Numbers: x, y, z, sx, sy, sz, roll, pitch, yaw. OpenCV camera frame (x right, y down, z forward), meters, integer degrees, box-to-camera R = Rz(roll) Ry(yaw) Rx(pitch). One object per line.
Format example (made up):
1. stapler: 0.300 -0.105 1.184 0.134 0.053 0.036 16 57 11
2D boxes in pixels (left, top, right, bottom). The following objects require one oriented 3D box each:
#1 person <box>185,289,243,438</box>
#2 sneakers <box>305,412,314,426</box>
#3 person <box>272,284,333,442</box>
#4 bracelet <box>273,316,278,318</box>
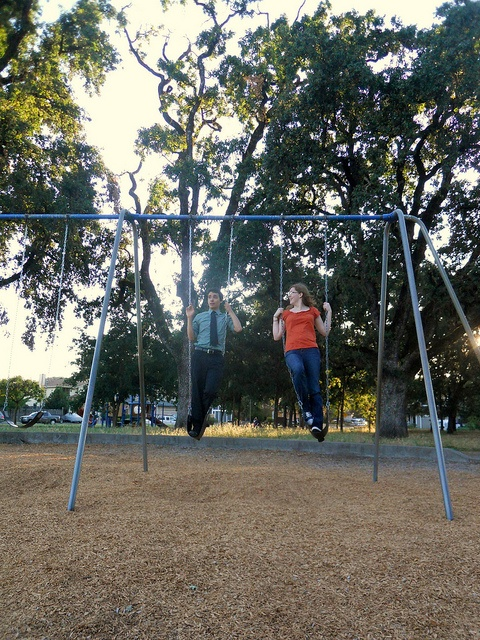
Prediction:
1. person: -0.328 0.465 6.425 0.599 1.894 1.029 1 -8 -3
2. sneakers: 0.762 1.071 5.824 0.101 0.189 0.058 1 9 40
3. person: 0.758 0.395 6.006 0.622 1.866 0.547 -3 -24 1
4. bracelet: 0.419 -0.042 6.284 0.044 0.041 0.050 0 -6 9
